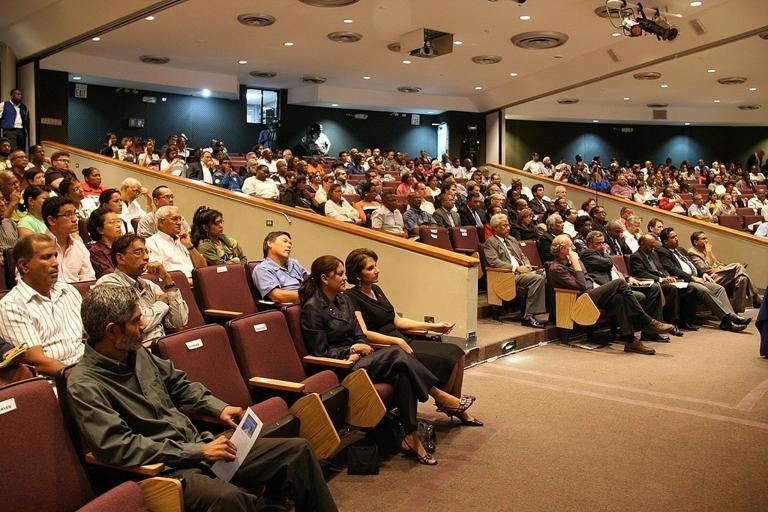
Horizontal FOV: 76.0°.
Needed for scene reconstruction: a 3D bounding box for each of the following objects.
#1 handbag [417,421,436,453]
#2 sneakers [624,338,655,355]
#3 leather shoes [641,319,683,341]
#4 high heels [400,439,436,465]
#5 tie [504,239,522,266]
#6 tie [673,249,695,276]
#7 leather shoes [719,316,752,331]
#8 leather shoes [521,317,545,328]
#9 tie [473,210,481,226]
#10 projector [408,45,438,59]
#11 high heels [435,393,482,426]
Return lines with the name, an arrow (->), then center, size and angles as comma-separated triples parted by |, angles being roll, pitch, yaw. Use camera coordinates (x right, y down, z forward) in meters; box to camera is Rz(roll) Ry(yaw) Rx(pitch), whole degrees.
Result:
handbag -> 0.318, 1.342, 3.544 | 0.061, 0.194, 0.118 | -15, 44, 11
sneakers -> 3.008, 1.058, 5.787 | 0.331, 0.171, 0.158 | -2, 1, 33
leather shoes -> 3.517, 0.961, 6.258 | 0.502, 0.243, 0.180 | -11, 5, 43
high heels -> 0.243, 1.340, 3.472 | 0.302, 0.128, 0.105 | 11, 19, 41
tie -> 1.728, -0.028, 6.724 | 0.133, 0.337, 0.251 | -30, -10, 25
tie -> 4.487, 0.147, 7.393 | 0.131, 0.366, 0.276 | -52, -7, 34
leather shoes -> 4.758, 0.922, 6.664 | 0.193, 0.134, 0.309 | -35, 12, -38
leather shoes -> 1.895, 0.842, 6.248 | 0.266, 0.126, 0.111 | 3, 3, 33
tie -> 1.588, -0.645, 8.390 | 0.073, 0.235, 0.228 | -11, 6, 28
projector -> 0.915, -4.709, 11.215 | 0.583, 0.202, 0.289 | 1, 8, 1
high heels -> 0.622, 1.237, 3.916 | 0.474, 0.232, 0.168 | 4, 8, 17
